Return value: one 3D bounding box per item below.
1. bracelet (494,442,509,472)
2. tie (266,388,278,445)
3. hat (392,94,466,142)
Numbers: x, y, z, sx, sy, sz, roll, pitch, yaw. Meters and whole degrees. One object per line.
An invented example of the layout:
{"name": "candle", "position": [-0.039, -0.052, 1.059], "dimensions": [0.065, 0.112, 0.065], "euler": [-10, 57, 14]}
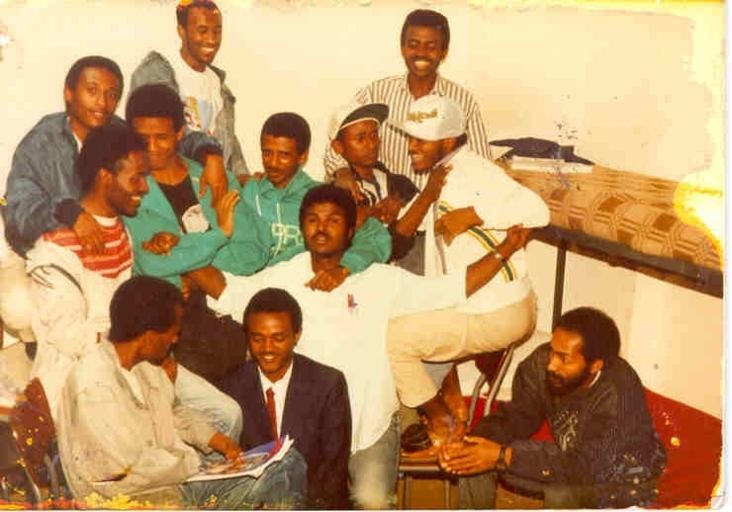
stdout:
{"name": "bracelet", "position": [1.471, 2.178, 8.798], "dimensions": [0.136, 0.236, 0.233], "euler": [14, -17, 32]}
{"name": "tie", "position": [-0.975, 1.726, 8.859], "dimensions": [0.102, 0.627, 0.076], "euler": [-8, 2, 5]}
{"name": "hat", "position": [0.721, -1.483, 8.965], "dimensions": [0.618, 0.343, 0.450], "euler": [0, 17, -20]}
